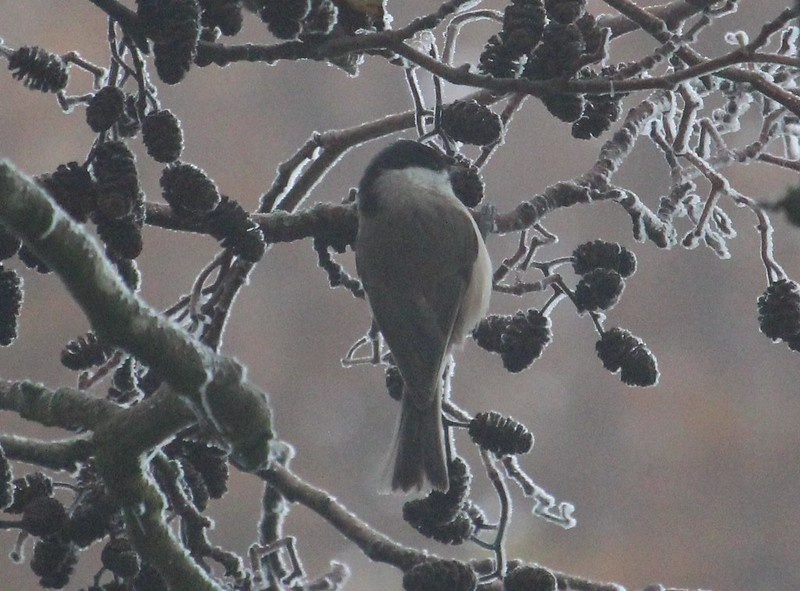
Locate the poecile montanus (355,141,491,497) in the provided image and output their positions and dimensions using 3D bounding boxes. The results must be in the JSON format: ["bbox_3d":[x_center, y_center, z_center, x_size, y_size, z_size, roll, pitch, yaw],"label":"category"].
[{"bbox_3d":[0.037,-0.009,4.553,0.247,0.924,0.339,-6,-12,20],"label":"poecile montanus"}]
